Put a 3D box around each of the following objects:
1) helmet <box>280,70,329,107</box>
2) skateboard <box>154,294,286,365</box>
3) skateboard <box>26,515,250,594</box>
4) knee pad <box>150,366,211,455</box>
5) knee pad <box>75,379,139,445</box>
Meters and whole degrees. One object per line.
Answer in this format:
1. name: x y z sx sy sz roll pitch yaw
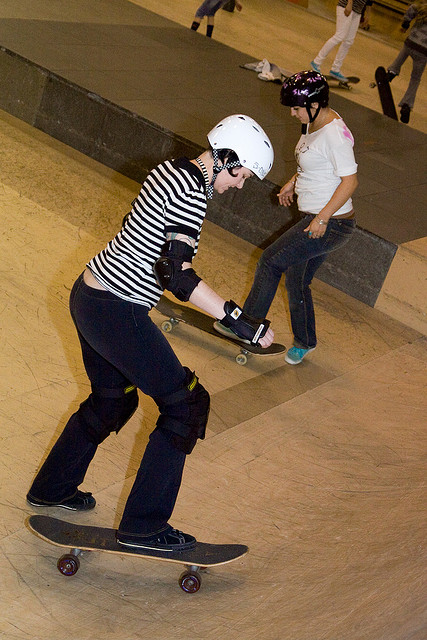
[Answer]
1. helmet: 0.471 -1.088 2.908 0.237 0.153 0.165 -11 46 -13
2. skateboard: 0.013 0.061 2.920 0.668 0.109 0.158 23 36 12
3. skateboard: -0.284 0.706 1.914 0.790 0.126 0.269 9 7 -1
4. knee pad: -0.090 0.274 1.859 0.186 0.161 0.150 31 18 14
5. knee pad: -0.340 0.293 1.983 0.173 0.254 0.083 20 20 -25
